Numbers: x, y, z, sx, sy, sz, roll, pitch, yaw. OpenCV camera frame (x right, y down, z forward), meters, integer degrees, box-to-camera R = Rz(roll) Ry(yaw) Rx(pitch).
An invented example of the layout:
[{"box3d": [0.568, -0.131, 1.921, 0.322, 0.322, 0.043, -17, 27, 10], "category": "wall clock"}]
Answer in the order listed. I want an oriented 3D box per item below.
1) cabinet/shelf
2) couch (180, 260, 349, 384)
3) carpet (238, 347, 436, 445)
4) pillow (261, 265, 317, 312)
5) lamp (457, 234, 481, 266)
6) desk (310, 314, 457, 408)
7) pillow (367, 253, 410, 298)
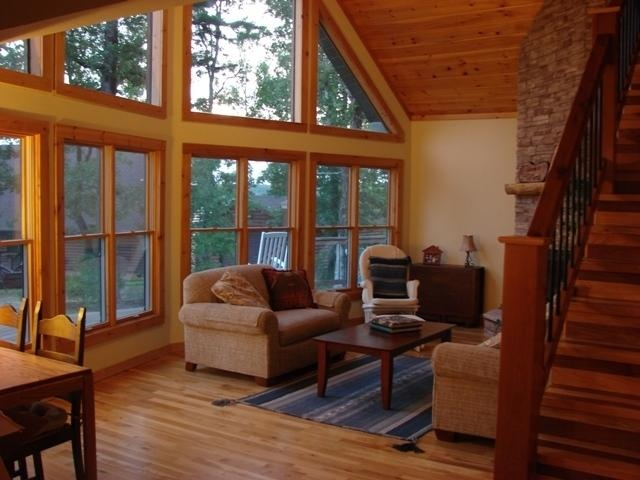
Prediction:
[{"box3d": [1.770, 0.783, 7.403, 1.170, 0.741, 0.397, 3, 9, 20], "category": "cabinet/shelf"}, {"box3d": [-0.514, 0.846, 5.820, 1.417, 0.851, 1.677, 2, 4, 25], "category": "couch"}, {"box3d": [0.384, 1.424, 5.001, 1.600, 0.051, 1.692, 3, 5, 23], "category": "carpet"}, {"box3d": [-0.384, 0.550, 5.999, 0.616, 0.441, 0.164, 3, -23, -33], "category": "pillow"}, {"box3d": [2.203, 0.152, 7.841, 0.228, 0.455, 0.339, 3, 7, 17], "category": "lamp"}, {"box3d": [0.679, 1.107, 5.214, 0.807, 0.407, 1.277, 2, 5, 38], "category": "desk"}, {"box3d": [0.892, 0.486, 7.031, 0.752, 0.569, 0.232, 1, -14, 1], "category": "pillow"}]
